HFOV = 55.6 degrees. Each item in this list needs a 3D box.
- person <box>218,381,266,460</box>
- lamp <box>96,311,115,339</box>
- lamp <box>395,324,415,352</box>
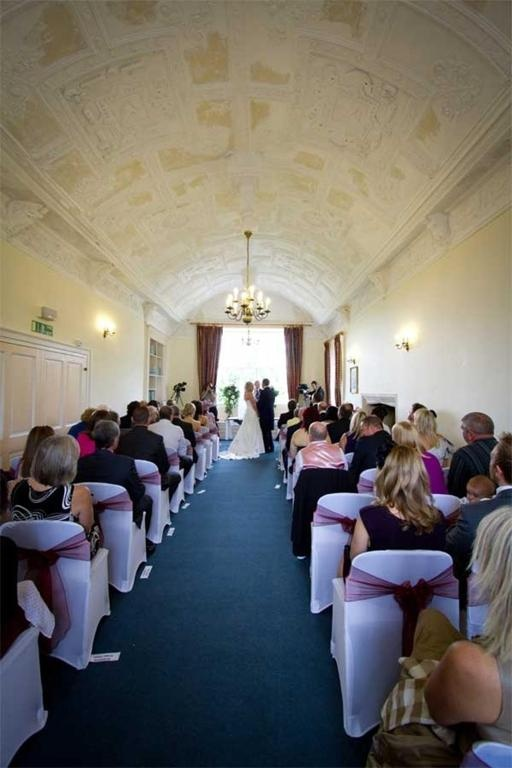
[{"bbox_3d":[-0.268,0.711,9.554,0.747,1.526,1.112,2,5,3],"label":"person"},{"bbox_3d":[-2.423,-0.948,7.672,0.135,0.271,0.459,-3,-11,5],"label":"lamp"},{"bbox_3d":[2.053,-0.652,6.698,0.120,0.382,0.403,0,6,-9],"label":"lamp"}]
